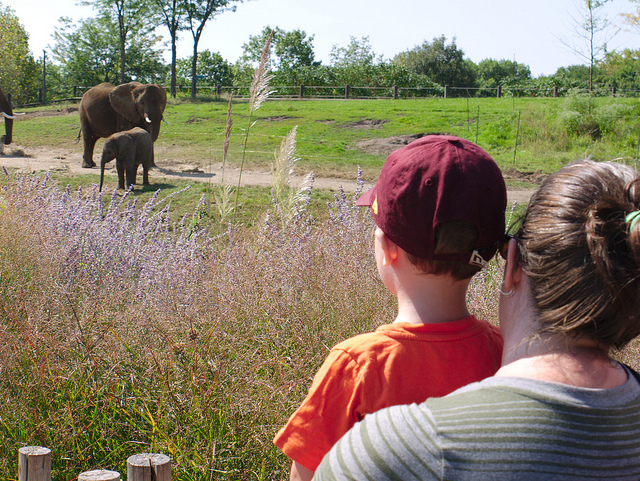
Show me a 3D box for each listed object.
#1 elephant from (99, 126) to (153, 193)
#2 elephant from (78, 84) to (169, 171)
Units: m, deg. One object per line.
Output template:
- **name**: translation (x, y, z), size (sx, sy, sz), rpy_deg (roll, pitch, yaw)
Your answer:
- **elephant**: translation (-3.715, -1.532, 13.420), size (0.610, 1.191, 1.466), rpy_deg (6, 14, 26)
- **elephant**: translation (-5.261, -3.138, 18.866), size (3.326, 2.162, 1.353), rpy_deg (-1, 5, 32)
